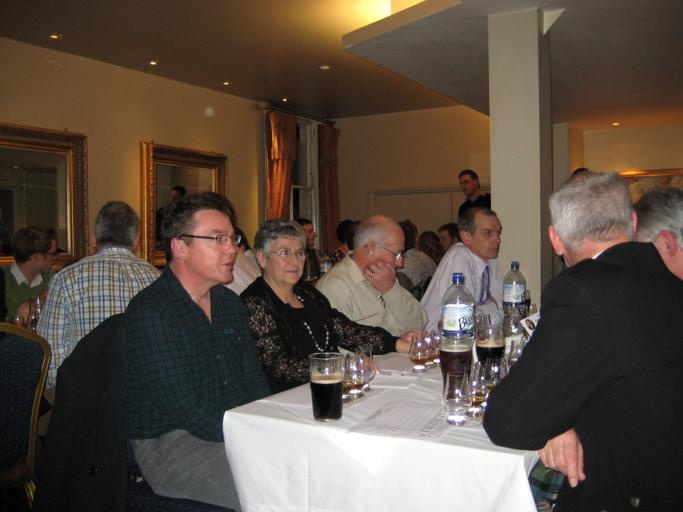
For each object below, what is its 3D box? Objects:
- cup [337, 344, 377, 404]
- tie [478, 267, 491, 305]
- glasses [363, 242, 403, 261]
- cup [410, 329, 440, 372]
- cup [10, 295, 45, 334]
[{"bbox_3d":[0.058,0.442,2.094,0.132,0.163,0.160,0,-11,-4],"label":"cup"},{"bbox_3d":[0.965,0.205,3.739,0.055,0.234,0.168,6,1,14],"label":"tie"},{"bbox_3d":[0.255,-0.026,3.078,0.119,0.039,0.122,25,-5,-4],"label":"glasses"},{"bbox_3d":[0.354,0.408,2.368,0.148,0.193,0.130,4,-4,-36],"label":"cup"},{"bbox_3d":[-1.789,0.344,3.192,0.115,0.198,0.116,22,8,-3],"label":"cup"}]
